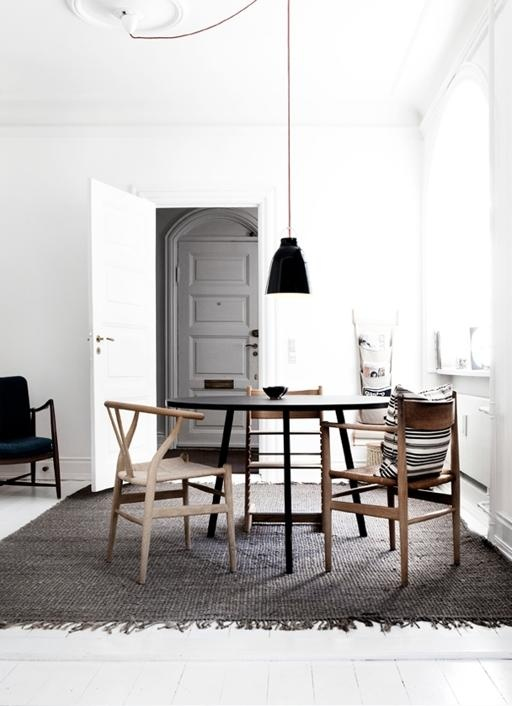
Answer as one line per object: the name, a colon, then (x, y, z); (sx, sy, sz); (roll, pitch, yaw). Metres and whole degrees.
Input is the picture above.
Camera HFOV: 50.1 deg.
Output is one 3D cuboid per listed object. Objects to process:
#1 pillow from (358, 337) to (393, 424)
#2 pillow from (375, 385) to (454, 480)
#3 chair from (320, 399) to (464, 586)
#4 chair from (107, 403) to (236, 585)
pillow: (0.894, 0.228, 4.155); (0.312, 0.766, 0.125); (5, 21, 23)
pillow: (0.625, 0.310, 2.159); (0.423, 0.365, 0.251); (2, -3, -42)
chair: (0.536, 0.518, 2.247); (0.500, 0.698, 0.536); (0, -4, -13)
chair: (-0.369, 0.541, 2.261); (0.462, 0.696, 0.525); (1, -3, -27)
